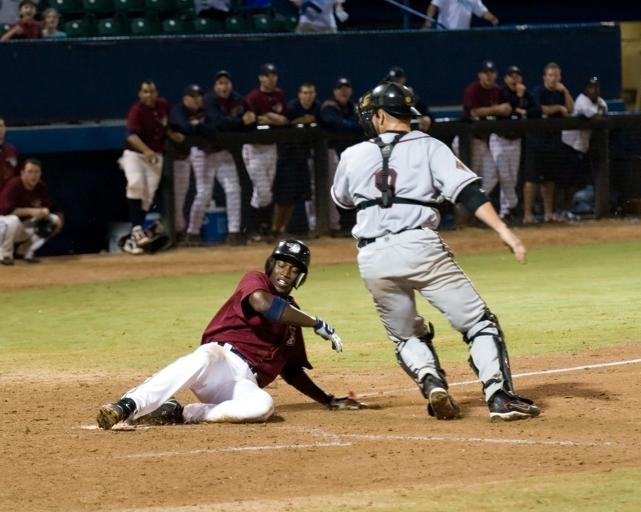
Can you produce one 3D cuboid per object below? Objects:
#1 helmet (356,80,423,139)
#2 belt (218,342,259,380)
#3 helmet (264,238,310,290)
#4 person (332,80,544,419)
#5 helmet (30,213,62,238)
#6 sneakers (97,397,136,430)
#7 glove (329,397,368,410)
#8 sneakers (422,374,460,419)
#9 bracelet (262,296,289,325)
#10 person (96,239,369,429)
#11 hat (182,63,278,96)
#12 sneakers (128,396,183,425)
[{"bbox_3d":[0.469,-1.102,8.906,0.488,0.373,0.403,26,32,36],"label":"helmet"},{"bbox_3d":[-0.589,0.752,8.873,0.301,0.088,0.218,37,10,0],"label":"belt"},{"bbox_3d":[-0.197,0.045,9.044,0.380,0.331,0.379,25,-1,-1],"label":"helmet"},{"bbox_3d":[0.805,0.153,8.772,1.498,2.115,0.599,1,14,14],"label":"person"},{"bbox_3d":[-3.245,-0.350,14.101,0.358,0.304,0.176,-7,14,-22],"label":"helmet"},{"bbox_3d":[-1.448,1.104,8.500,0.302,0.116,0.171,-27,59,-19],"label":"sneakers"},{"bbox_3d":[0.209,1.145,9.348,0.331,0.112,0.104,-2,2,1],"label":"glove"},{"bbox_3d":[0.879,1.027,8.779,0.206,0.422,0.179,-16,45,17],"label":"sneakers"},{"bbox_3d":[-0.323,0.379,8.668,0.154,0.163,0.177,25,-10,-11],"label":"bracelet"},{"bbox_3d":[-0.612,0.670,8.850,2.125,1.230,1.127,-2,-21,4],"label":"person"},{"bbox_3d":[-1.203,-2.255,15.319,0.886,0.315,0.333,-3,-2,-19],"label":"hat"},{"bbox_3d":[-1.206,1.133,8.760,0.346,0.114,0.168,-5,43,-21],"label":"sneakers"}]
